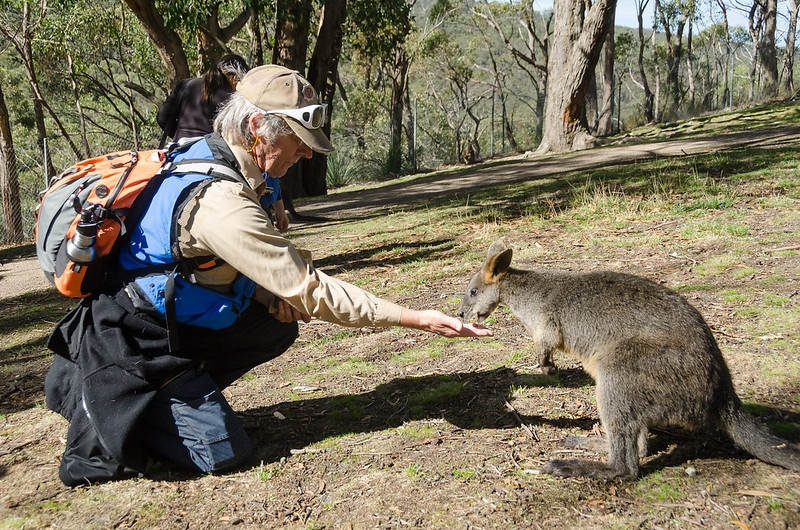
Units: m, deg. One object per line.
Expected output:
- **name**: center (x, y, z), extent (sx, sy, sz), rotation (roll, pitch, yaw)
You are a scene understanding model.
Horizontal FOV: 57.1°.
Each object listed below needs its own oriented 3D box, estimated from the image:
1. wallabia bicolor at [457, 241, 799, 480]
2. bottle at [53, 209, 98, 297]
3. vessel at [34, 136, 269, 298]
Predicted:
- **wallabia bicolor**: center (1.379, 0.598, 6.041), extent (3.049, 1.418, 0.874), rotation (9, 21, 38)
- **bottle**: center (-2.402, -0.081, 5.453), extent (0.410, 0.637, 0.376), rotation (0, 8, 0)
- **vessel**: center (-2.105, -0.344, 5.641), extent (1.327, 1.115, 0.749), rotation (-11, 11, -24)
